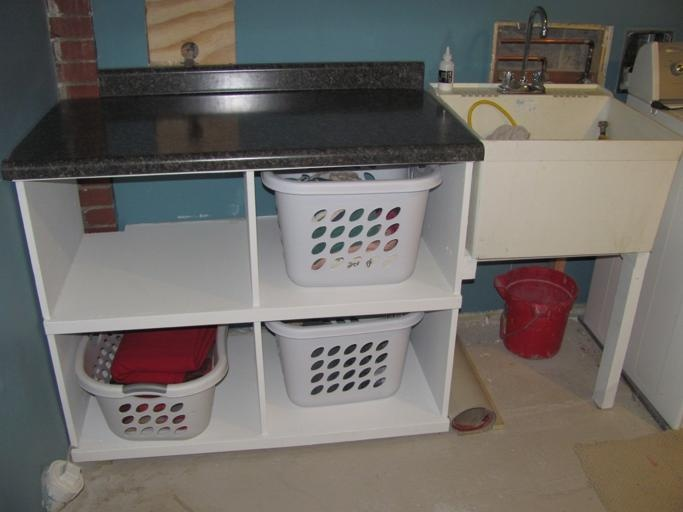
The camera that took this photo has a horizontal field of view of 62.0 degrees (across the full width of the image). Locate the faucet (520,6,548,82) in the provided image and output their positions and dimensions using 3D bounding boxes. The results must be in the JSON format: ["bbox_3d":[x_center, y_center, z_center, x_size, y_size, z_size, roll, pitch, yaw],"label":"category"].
[{"bbox_3d":[0.818,-0.886,2.401,0.103,0.312,0.327,9,28,15],"label":"faucet"}]

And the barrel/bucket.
[{"bbox_3d":[0.966,0.294,2.782,0.345,0.374,0.407,17,-19,-31],"label":"barrel/bucket"}]

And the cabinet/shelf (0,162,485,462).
[{"bbox_3d":[-0.365,0.240,2.098,0.995,0.844,0.364,-5,25,-11],"label":"cabinet/shelf"}]

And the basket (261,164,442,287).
[{"bbox_3d":[0.034,-0.094,1.964,0.628,0.451,0.428,-3,20,-6],"label":"basket"}]

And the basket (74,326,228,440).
[{"bbox_3d":[-0.695,0.460,2.182,0.389,0.230,0.482,0,23,-4],"label":"basket"}]

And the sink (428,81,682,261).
[{"bbox_3d":[0.831,-0.253,2.309,0.748,0.486,0.767,-3,26,-5],"label":"sink"}]
